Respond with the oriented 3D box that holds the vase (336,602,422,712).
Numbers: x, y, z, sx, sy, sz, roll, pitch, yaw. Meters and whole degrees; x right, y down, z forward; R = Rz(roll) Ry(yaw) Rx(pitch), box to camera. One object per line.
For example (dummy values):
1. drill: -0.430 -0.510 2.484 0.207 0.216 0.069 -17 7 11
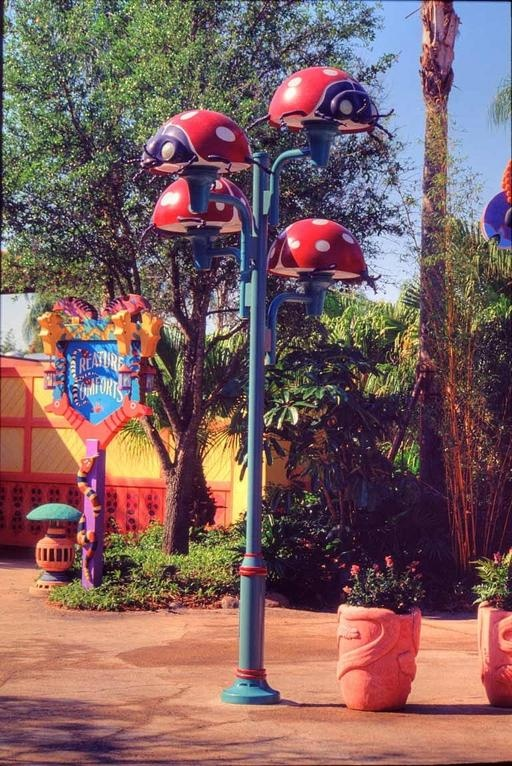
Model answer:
1. vase: 0.903 2.047 10.417 0.671 0.782 0.706 5 0 15
